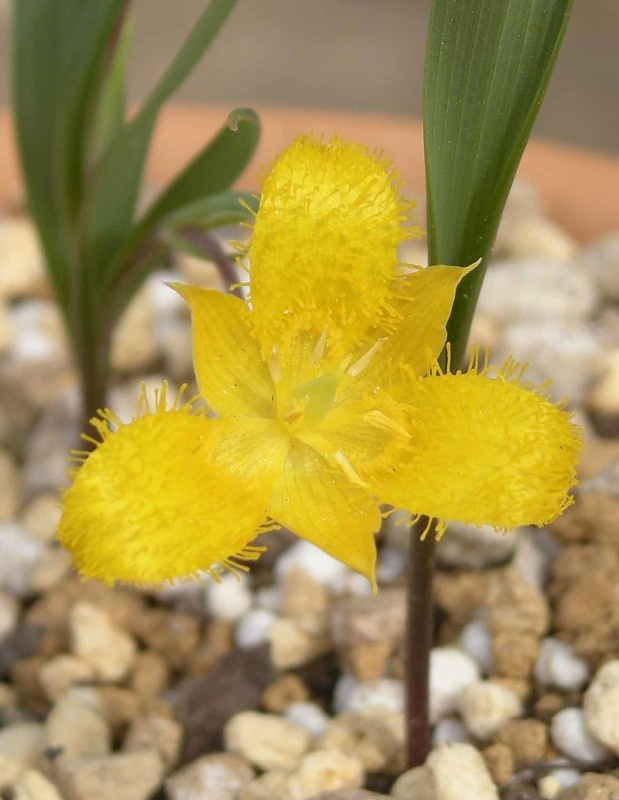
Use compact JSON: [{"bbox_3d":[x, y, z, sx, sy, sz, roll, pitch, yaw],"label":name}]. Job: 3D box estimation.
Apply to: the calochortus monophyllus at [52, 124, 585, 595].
[{"bbox_3d":[-0.010,-0.012,0.392,0.210,0.161,0.147,-15,38,-25],"label":"calochortus monophyllus"}]
